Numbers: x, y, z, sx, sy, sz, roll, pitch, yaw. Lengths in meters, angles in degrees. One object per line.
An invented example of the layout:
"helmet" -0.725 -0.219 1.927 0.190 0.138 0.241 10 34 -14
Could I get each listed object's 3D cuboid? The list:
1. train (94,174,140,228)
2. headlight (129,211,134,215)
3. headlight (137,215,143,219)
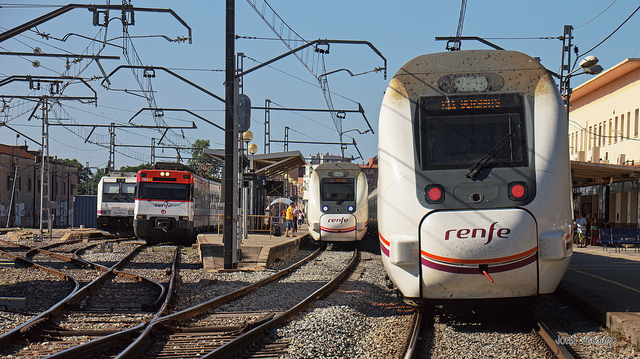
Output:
"train" -11.763 1.353 33.728 2.522 2.494 4.295 2 0 -9
"headlight" -11.336 1.995 35.466 0.344 0.192 0.141 -2 -1 39
"headlight" -9.222 1.919 30.157 0.258 0.139 0.245 -1 -3 -19
